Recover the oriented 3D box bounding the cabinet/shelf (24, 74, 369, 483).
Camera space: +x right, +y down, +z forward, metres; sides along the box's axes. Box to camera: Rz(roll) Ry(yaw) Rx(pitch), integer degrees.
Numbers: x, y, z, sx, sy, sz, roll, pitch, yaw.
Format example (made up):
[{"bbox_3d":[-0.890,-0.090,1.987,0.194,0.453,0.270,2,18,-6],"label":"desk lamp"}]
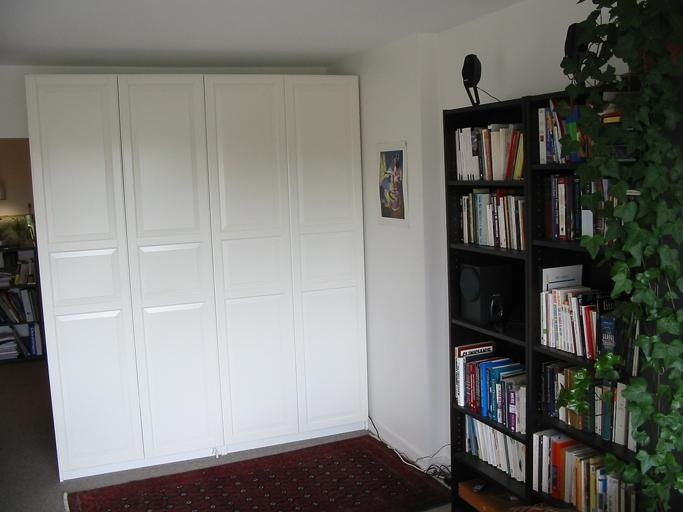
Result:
[{"bbox_3d":[-1.106,0.110,4.062,2.977,2.475,0.826,-8,7,-9],"label":"cabinet/shelf"}]
